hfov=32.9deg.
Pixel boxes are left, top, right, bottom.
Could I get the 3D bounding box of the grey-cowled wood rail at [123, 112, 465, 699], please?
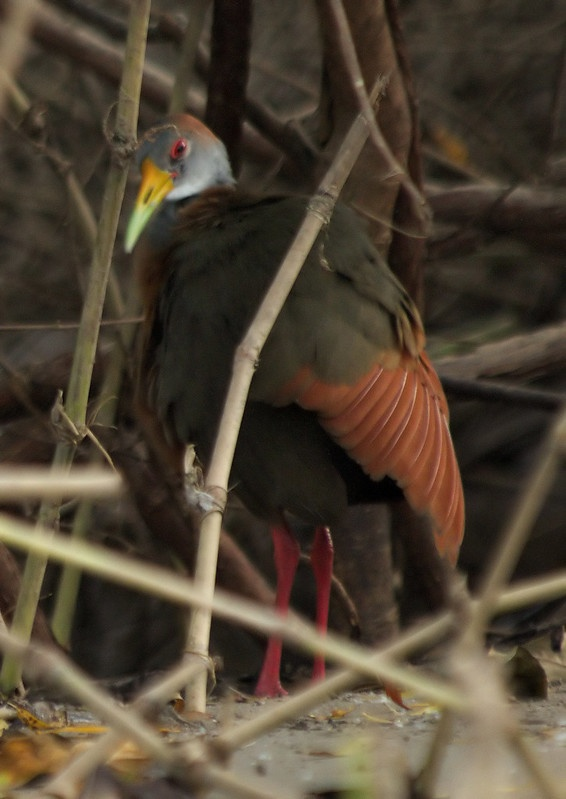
[{"bbox_3d":[-0.002,-0.049,2.087,0.772,1.373,0.676,10,-15,-10],"label":"grey-cowled wood rail"}]
